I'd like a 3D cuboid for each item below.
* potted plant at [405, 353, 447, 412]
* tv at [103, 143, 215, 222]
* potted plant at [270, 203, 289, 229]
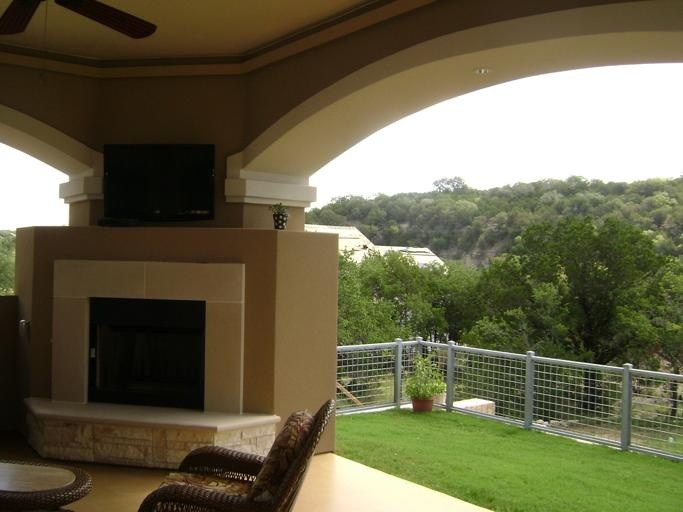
[{"bbox_3d":[1.245,2.083,8.967,0.798,1.112,0.728,2,-7,-7],"label":"potted plant"},{"bbox_3d":[-2.209,-0.930,6.726,0.913,0.702,0.130,0,3,3],"label":"tv"},{"bbox_3d":[-0.737,-0.467,6.470,0.195,0.373,0.473,4,-5,-16],"label":"potted plant"}]
